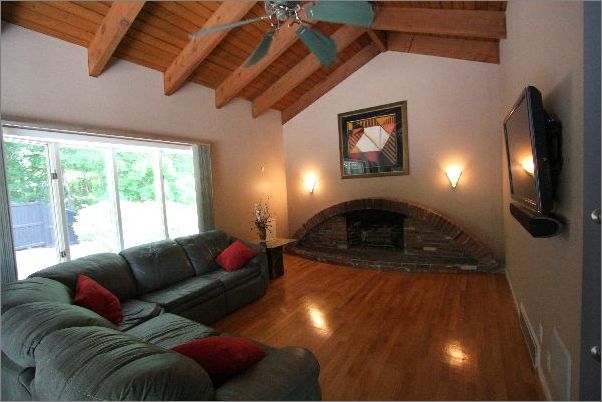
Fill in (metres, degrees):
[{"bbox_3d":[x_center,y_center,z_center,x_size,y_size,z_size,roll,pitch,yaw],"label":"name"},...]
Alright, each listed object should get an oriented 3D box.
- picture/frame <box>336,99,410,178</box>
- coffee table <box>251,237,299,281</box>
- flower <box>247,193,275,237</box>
[{"bbox_3d":[1.351,-1.141,7.247,1.531,1.425,0.059,-2,3,35],"label":"picture/frame"},{"bbox_3d":[-0.442,0.921,6.458,0.601,0.562,0.602,2,6,35],"label":"coffee table"},{"bbox_3d":[-0.707,0.323,7.082,0.404,0.728,0.410,-5,-4,43],"label":"flower"}]
